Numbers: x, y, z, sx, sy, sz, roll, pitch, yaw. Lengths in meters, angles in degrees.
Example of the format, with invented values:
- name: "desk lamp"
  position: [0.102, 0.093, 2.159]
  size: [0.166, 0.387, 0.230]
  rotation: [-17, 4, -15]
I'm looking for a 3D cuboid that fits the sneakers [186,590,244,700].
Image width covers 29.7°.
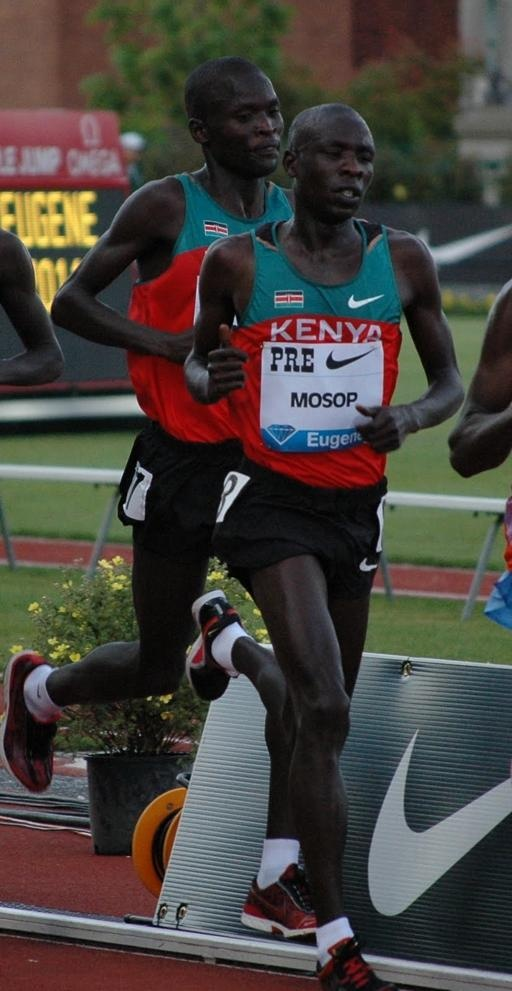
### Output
- name: "sneakers"
  position: [-0.069, 0.394, 2.609]
  size: [0.169, 0.453, 0.193]
  rotation: [19, 72, -4]

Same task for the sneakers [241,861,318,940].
- name: "sneakers"
  position: [0.077, 0.837, 1.980]
  size: [0.086, 0.131, 0.232]
  rotation: [21, -20, -40]
